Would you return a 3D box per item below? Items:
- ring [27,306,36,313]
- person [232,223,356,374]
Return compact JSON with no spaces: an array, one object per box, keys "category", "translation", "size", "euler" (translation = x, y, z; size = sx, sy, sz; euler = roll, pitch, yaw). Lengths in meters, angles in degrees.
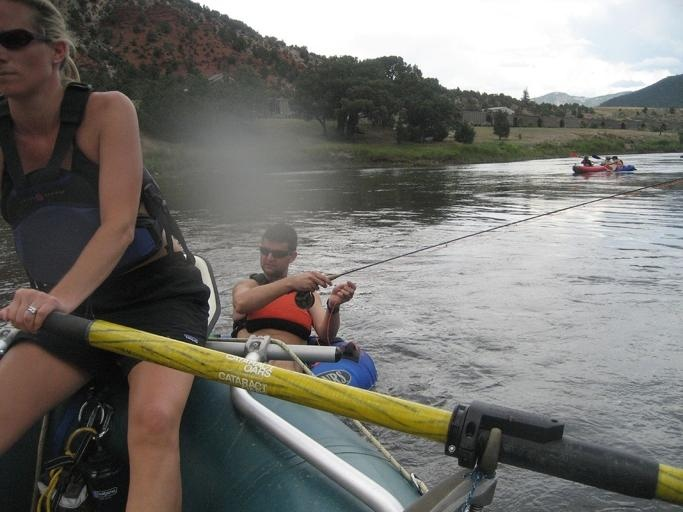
[{"category":"ring","translation":[-1.165,0.204,2.312],"size":[0.023,0.028,0.014],"euler":[18,53,-7]},{"category":"person","translation":[-0.414,0.367,4.933],"size":[0.923,1.268,0.861],"euler":[2,6,0]}]
